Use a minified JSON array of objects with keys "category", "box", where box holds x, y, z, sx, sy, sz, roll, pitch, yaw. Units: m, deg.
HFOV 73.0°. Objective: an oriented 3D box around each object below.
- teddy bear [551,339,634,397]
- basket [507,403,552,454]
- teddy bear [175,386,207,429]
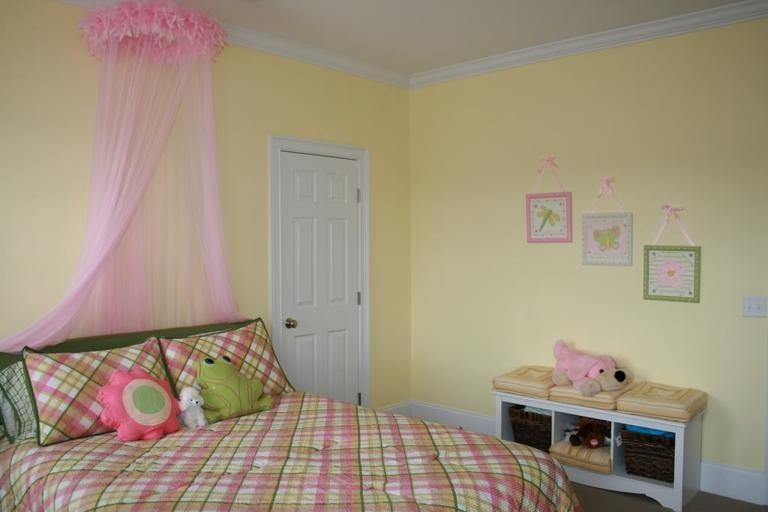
[{"category":"teddy bear","box":[1.664,0.913,4.261,0.386,0.141,0.384,-7,13,-9]},{"category":"basket","box":[1.247,1.429,4.494,0.323,0.459,0.376,1,-2,-40]},{"category":"teddy bear","box":[-1.288,1.000,3.467,0.170,0.268,0.203,4,6,42]}]
